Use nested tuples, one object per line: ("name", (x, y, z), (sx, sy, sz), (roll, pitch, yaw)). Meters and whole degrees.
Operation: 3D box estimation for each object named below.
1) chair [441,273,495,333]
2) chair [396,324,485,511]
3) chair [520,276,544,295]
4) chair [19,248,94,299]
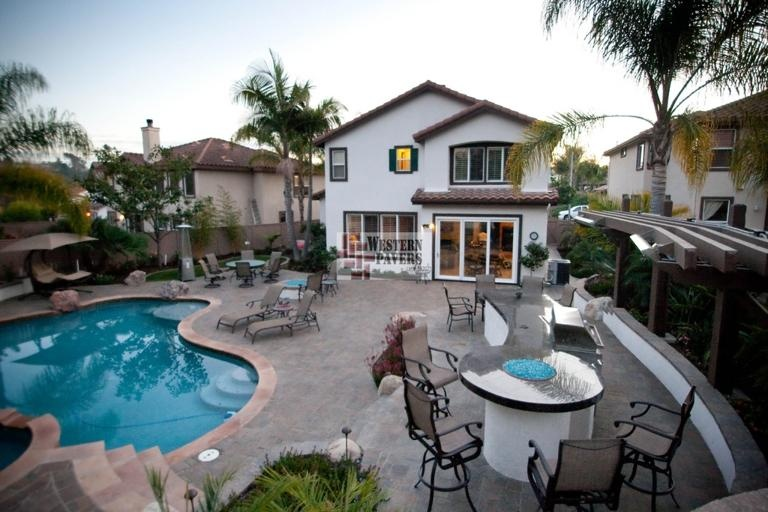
("chair", (2.973, 1.619, 16.025), (1.874, 2.667, 1.771), (0, 4, 7))
("chair", (1.104, 3.396, 9.247), (1.004, 1.723, 2.587), (-4, 9, -4))
("chair", (5.022, 0.975, 15.258), (0.598, 0.629, 0.419), (4, -9, 16))
("chair", (-14.554, 0.822, 19.888), (2.128, 1.786, 2.165), (7, 4, 0))
